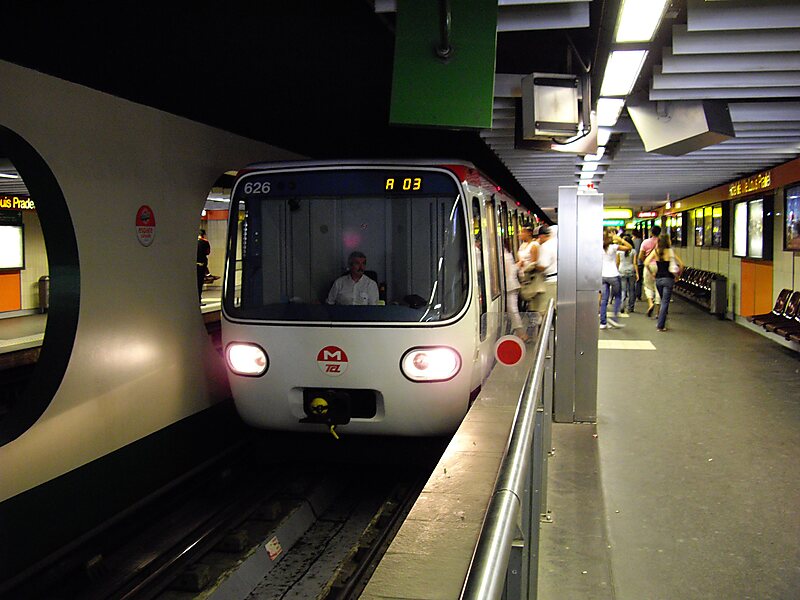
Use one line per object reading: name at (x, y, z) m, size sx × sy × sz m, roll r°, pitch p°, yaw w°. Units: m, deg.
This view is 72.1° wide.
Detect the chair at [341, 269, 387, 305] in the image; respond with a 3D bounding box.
chair at (-0.339, -0.129, 5.148) m, size 0.232 × 0.461 × 0.246 m, roll 2°, pitch 4°, yaw 28°

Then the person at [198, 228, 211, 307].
person at (-3.058, -0.683, 8.578) m, size 0.187 × 0.784 × 0.595 m, roll -2°, pitch 6°, yaw -18°
